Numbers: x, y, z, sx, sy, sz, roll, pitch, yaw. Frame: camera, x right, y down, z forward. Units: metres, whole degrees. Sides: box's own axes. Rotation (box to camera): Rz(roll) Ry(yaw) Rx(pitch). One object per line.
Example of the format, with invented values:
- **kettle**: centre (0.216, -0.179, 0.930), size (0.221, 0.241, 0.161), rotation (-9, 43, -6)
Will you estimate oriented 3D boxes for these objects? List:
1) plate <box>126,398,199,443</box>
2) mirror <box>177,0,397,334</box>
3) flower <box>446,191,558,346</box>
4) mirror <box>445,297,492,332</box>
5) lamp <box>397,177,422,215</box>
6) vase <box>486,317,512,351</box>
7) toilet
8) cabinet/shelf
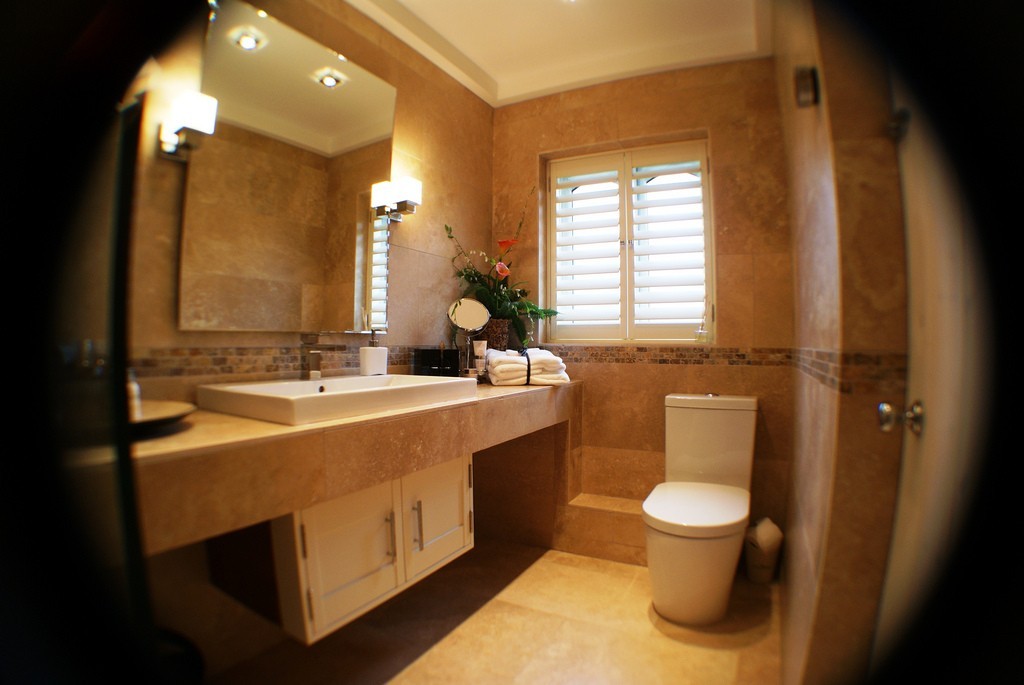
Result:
- **plate**: centre (-0.673, 0.152, 1.343), size (0.119, 0.024, 0.119), rotation (2, 8, 1)
- **mirror**: centre (-0.689, -0.522, 2.225), size (0.203, 0.988, 0.882), rotation (1, 4, 15)
- **flower**: centre (-0.108, -0.308, 3.252), size (0.505, 0.649, 0.383), rotation (-3, 5, -26)
- **mirror**: centre (-0.176, -0.129, 3.098), size (0.219, 0.145, 0.130), rotation (-2, 5, -21)
- **lamp**: centre (-0.387, -0.565, 2.630), size (0.113, 0.165, 0.114), rotation (4, 11, 5)
- **vase**: centre (-0.041, -0.051, 3.193), size (0.125, 0.140, 0.127), rotation (1, 0, 3)
- **toilet**: centre (0.700, 0.567, 2.550), size (0.343, 0.674, 0.772), rotation (2, 6, 20)
- **cabinet/shelf**: centre (-0.363, 0.498, 1.927), size (0.199, 0.353, 0.616), rotation (7, 12, 37)
